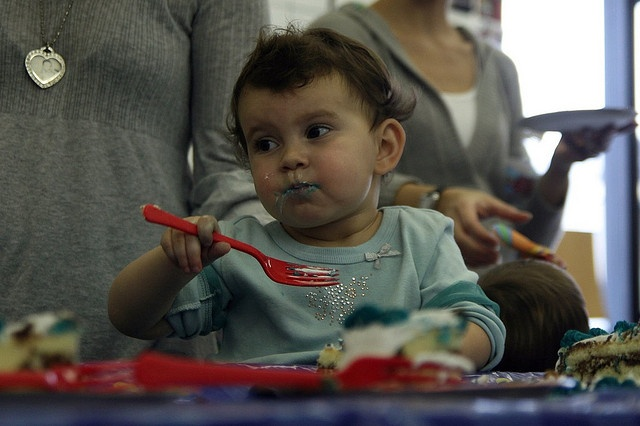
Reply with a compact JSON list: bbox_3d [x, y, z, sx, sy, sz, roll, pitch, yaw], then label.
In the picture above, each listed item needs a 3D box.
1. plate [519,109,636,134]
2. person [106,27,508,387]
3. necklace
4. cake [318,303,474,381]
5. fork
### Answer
[{"bbox_3d":[0.804,-0.283,2.138,0.158,0.028,0.155,-3,-4,-5],"label":"plate"},{"bbox_3d":[0.017,-0.074,1.959,0.977,1.328,0.762,-4,-21,4],"label":"person"},{"bbox_3d":[-0.707,-0.421,1.804,0.111,0.203,0.066,-2,9,-20],"label":"necklace"},{"bbox_3d":[0.129,0.196,1.121,0.161,0.072,0.126,1,-6,-15],"label":"cake"},{"bbox_3d":[-0.172,0.083,1.623,0.361,0.051,0.060,24,33,-25],"label":"fork"}]
